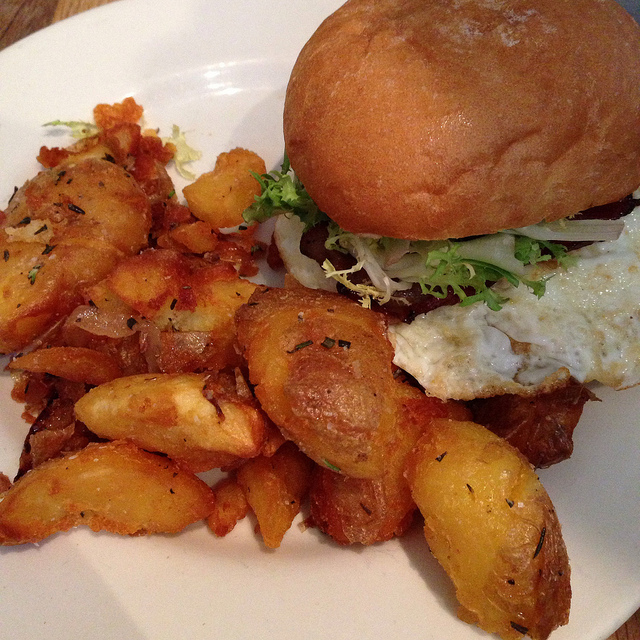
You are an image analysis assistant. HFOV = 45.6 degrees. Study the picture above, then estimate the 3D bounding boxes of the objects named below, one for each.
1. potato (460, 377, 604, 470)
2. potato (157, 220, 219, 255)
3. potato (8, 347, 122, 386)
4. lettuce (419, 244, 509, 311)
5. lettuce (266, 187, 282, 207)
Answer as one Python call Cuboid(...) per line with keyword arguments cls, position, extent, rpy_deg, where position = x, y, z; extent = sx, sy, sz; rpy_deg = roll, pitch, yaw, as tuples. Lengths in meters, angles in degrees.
Cuboid(cls="potato", position=(0.749, 0.368, 2.717), extent=(0.438, 0.119, 0.343), rpy_deg=(9, 69, 35))
Cuboid(cls="potato", position=(-0.515, -0.316, 2.946), extent=(0.178, 0.044, 0.165), rpy_deg=(-20, 31, -19))
Cuboid(cls="potato", position=(-0.857, 0.189, 2.648), extent=(0.226, 0.214, 0.047), rpy_deg=(6, 85, 23))
Cuboid(cls="lettuce", position=(0.472, -0.140, 2.602), extent=(0.292, 0.088, 0.251), rpy_deg=(16, 10, -14))
Cuboid(cls="lettuce", position=(-0.162, -0.432, 2.687), extent=(0.031, 0.051, 0.047), rpy_deg=(-7, 7, -8))
